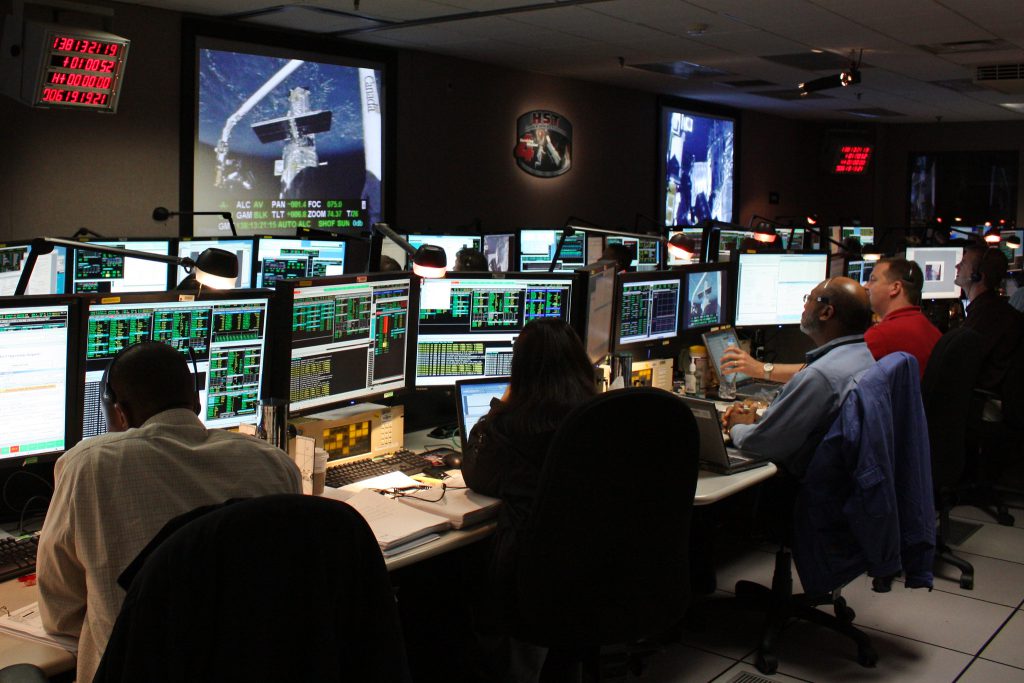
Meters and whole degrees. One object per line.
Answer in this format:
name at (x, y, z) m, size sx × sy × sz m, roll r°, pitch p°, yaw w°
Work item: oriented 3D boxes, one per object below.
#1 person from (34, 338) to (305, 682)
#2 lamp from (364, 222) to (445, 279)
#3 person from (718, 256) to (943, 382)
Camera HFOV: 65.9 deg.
person at (-0.902, 0.431, 2.048) m, size 0.521 × 0.785 × 0.472 m, roll 8°, pitch 15°, yaw 32°
lamp at (-0.426, -0.374, 3.278) m, size 0.454 × 0.246 × 0.167 m, roll 13°, pitch 17°, yaw 39°
person at (1.724, -0.134, 4.253) m, size 0.890 × 0.526 × 0.828 m, roll 0°, pitch 1°, yaw 42°
